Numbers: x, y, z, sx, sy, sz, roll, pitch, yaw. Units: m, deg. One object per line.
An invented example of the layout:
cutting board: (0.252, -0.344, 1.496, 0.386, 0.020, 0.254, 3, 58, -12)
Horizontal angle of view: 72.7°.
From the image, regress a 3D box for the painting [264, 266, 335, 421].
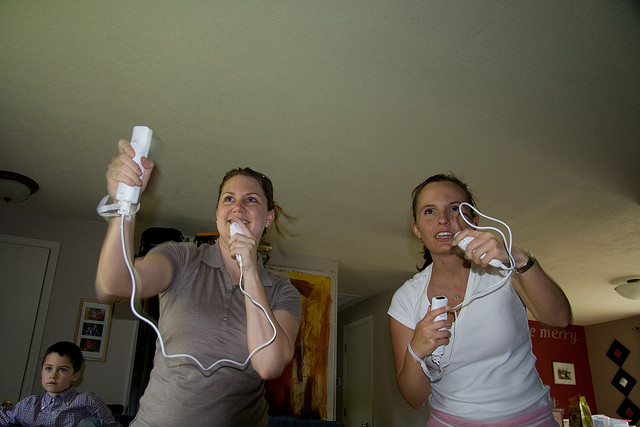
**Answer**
painting: (-0.200, 1.530, 5.259, 0.867, 1.804, 0.381, 5, -19, -12)

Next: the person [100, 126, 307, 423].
person: (-0.508, 0.299, 1.893, 0.903, 1.170, 0.426, 10, -21, -27)

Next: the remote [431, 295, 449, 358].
remote: (0.567, 0.533, 2.052, 0.086, 0.278, 0.142, -4, -19, 12)

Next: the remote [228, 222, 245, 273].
remote: (-0.372, 0.152, 1.899, 0.061, 0.247, 0.067, -2, 1, 0)

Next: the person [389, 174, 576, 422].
person: (0.742, 0.360, 2.156, 0.834, 1.256, 0.547, -10, -21, 27)

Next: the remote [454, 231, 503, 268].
remote: (0.728, 0.161, 1.994, 0.240, 0.046, 0.060, 36, -22, 2)

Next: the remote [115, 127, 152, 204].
remote: (-0.741, -0.197, 1.727, 0.101, 0.309, 0.084, 8, -20, -20)
